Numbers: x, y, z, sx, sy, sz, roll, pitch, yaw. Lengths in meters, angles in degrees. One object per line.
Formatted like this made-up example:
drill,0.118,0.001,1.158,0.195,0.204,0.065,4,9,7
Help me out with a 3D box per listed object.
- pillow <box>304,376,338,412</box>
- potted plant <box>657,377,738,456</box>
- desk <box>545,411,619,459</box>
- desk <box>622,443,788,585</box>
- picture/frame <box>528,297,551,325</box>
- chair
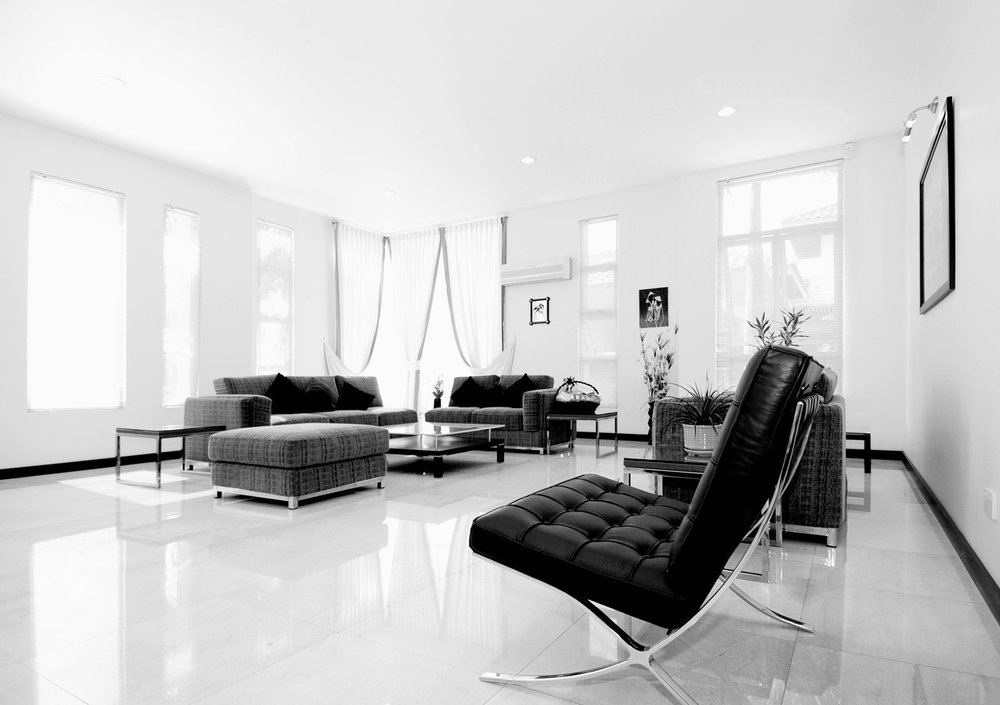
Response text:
pillow,-2.159,0.497,7.968,0.091,0.364,0.383,-17,-14,24
potted plant,1.371,0.532,4.523,0.367,0.343,0.404,10,-9,-42
desk,1.096,0.862,7.823,0.600,0.415,0.648,-1,0,37
desk,1.390,1.006,4.508,0.774,0.760,0.800,-2,-4,26
picture/frame,0.573,-0.607,9.520,0.377,0.438,0.077,1,1,37
chair,0.877,0.786,3.694,1.632,1.680,1.666,2,0,27
